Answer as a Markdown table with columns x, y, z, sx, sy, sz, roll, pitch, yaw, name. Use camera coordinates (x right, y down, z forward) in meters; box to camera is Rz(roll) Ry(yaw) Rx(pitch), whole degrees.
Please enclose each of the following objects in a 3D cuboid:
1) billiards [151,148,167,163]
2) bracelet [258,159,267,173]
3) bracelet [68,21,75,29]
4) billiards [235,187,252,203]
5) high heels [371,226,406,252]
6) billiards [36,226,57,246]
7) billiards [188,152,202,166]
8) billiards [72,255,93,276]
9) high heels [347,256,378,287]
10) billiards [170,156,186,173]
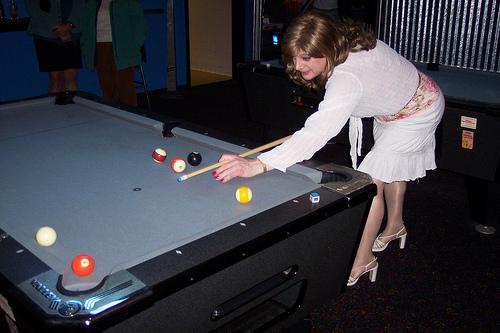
| x | y | z | sx | sy | sz | roll | pitch | yaw | name |
| --- | --- | --- | --- | --- | --- | --- | --- | --- | --- |
| -0.497 | -0.059 | 2.035 | 0.075 | 0.076 | 0.079 | 22 | 33 | 20 | billiards |
| 0.071 | -0.001 | 1.847 | 0.036 | 0.048 | 0.048 | -19 | 13 | -21 | bracelet |
| -2.100 | -1.660 | 4.297 | 0.064 | 0.048 | 0.064 | 2 | 42 | -12 | bracelet |
| -0.029 | 0.125 | 1.621 | 0.069 | 0.080 | 0.071 | 0 | -2 | 18 | billiards |
| 1.009 | 0.529 | 2.652 | 0.324 | 0.150 | 0.154 | -1 | 21 | -3 | high heels |
| -0.780 | 0.265 | 1.406 | 0.073 | 0.068 | 0.065 | -16 | 30 | -35 | billiards |
| -0.294 | -0.039 | 1.938 | 0.071 | 0.070 | 0.069 | 6 | 35 | -14 | billiards |
| -0.576 | 0.340 | 1.257 | 0.064 | 0.069 | 0.059 | -15 | 29 | -32 | billiards |
| 0.710 | 0.684 | 2.404 | 0.326 | 0.179 | 0.111 | -3 | 8 | -22 | high heels |
| -0.365 | -0.006 | 1.921 | 0.078 | 0.077 | 0.073 | 4 | 23 | -39 | billiards |
